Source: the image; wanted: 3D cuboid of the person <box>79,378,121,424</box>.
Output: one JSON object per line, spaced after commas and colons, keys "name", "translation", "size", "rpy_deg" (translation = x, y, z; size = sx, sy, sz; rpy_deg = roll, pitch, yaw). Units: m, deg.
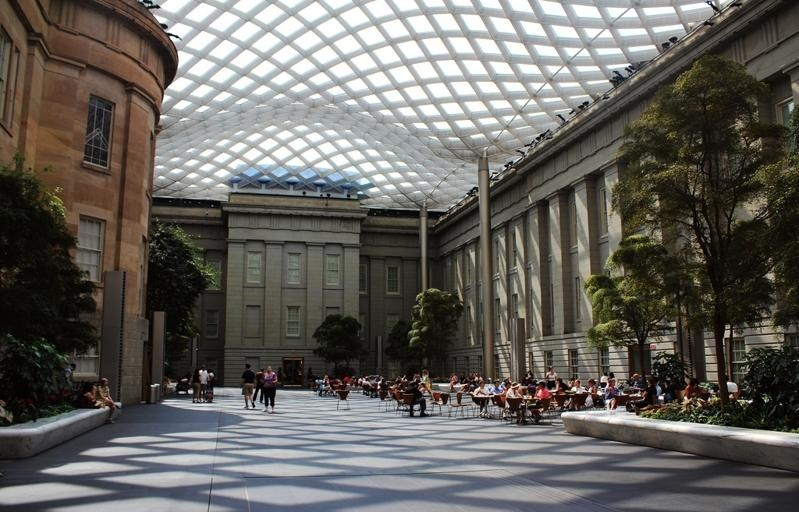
{"name": "person", "translation": [-9.995, 4.790, 23.537], "size": [1.474, 1.369, 1.147], "rpy_deg": [-2, -5, -17]}
